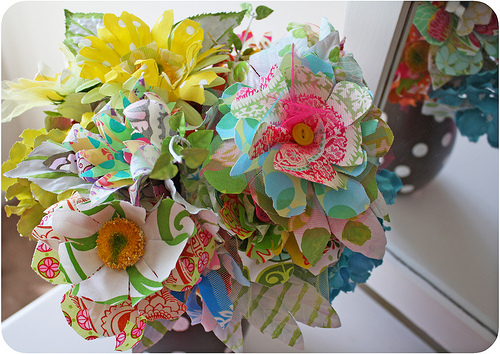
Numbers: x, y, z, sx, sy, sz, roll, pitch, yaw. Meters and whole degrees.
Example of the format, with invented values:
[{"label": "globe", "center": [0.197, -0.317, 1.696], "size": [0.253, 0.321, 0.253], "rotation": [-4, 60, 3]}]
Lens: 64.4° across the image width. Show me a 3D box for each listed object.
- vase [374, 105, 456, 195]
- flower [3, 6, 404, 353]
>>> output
[{"label": "vase", "center": [0.330, -0.082, 0.929], "size": [0.180, 0.207, 0.186], "rotation": [-4, 45, 0]}, {"label": "flower", "center": [-0.068, 0.005, 0.803], "size": [0.554, 0.550, 0.305], "rotation": [-34, -2, -1]}]
